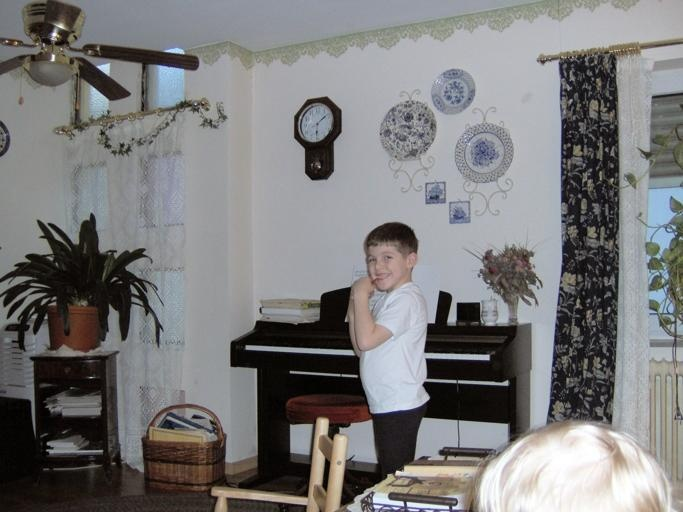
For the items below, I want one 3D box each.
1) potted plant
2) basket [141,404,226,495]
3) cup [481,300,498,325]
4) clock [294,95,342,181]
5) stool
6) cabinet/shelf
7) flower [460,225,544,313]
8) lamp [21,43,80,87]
[{"bbox_3d":[-1.948,0.204,5.020,1.032,0.778,1.028,4,-5,-40],"label":"potted plant"},{"bbox_3d":[-0.977,1.334,4.697,0.611,0.653,0.447,-1,-6,7],"label":"basket"},{"bbox_3d":[0.919,0.347,4.231,0.095,0.157,0.193,0,-1,11],"label":"cup"},{"bbox_3d":[-0.170,-0.845,4.941,0.352,0.588,0.104,0,0,22],"label":"clock"},{"bbox_3d":[-0.088,1.174,4.056,0.650,0.745,0.688,-3,-31,2],"label":"stool"},{"bbox_3d":[-1.881,1.095,4.821,0.581,0.849,0.409,0,-1,-18],"label":"cabinet/shelf"},{"bbox_3d":[1.042,0.121,4.417,0.431,0.507,0.388,-11,-11,-19],"label":"flower"},{"bbox_3d":[-1.471,-0.944,3.425,0.216,0.130,0.160,0,-1,12],"label":"lamp"}]
